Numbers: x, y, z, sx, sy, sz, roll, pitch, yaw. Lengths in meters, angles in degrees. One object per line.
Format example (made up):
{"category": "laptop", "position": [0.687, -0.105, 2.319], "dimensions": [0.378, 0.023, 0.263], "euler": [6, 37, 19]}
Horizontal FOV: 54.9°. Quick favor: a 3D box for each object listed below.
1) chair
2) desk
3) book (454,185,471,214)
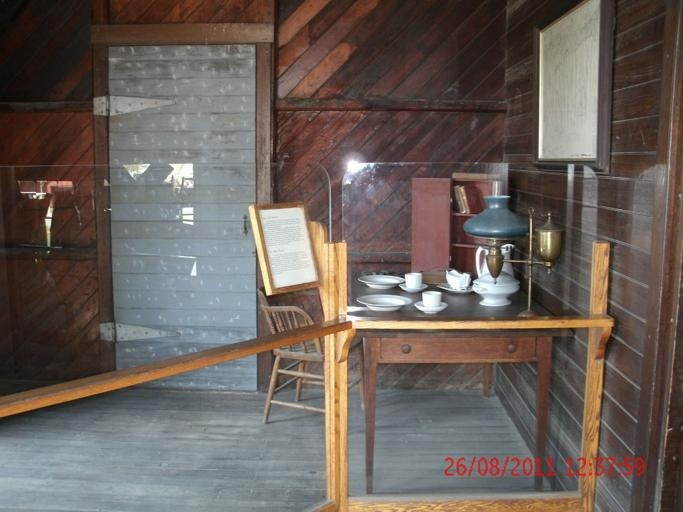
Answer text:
{"category": "chair", "position": [-0.168, 0.396, 2.770], "dimensions": [0.396, 0.470, 0.347], "euler": [1, 3, 6]}
{"category": "desk", "position": [0.461, 0.597, 3.273], "dimensions": [0.954, 0.748, 1.097], "euler": [-1, 7, -6]}
{"category": "book", "position": [0.533, -0.250, 2.931], "dimensions": [0.029, 0.108, 0.112], "euler": [-4, 1, -22]}
